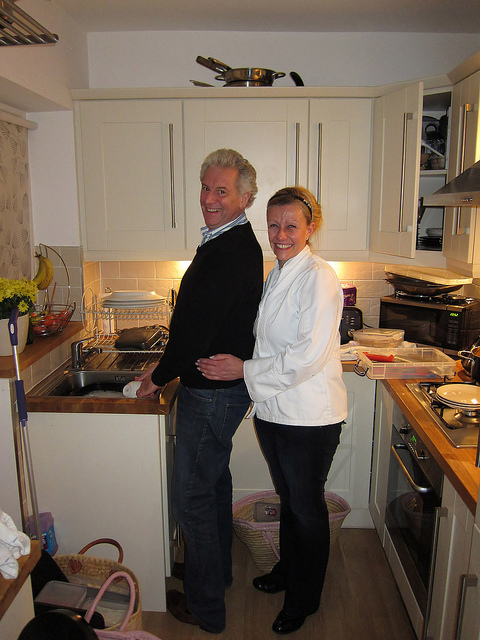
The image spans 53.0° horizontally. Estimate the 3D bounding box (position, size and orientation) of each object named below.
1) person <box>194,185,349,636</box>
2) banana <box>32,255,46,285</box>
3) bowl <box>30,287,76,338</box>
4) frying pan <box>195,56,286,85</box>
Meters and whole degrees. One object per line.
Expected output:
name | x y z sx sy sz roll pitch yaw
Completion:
person | 0.138 0.349 1.651 0.425 1.552 0.372 3 13 24
banana | -0.935 -0.221 2.267 0.055 0.151 0.040 3 -8 -3
bowl | -0.837 -0.025 2.104 0.218 0.159 0.233 2 6 0
frying pan | -0.001 -1.142 2.231 0.296 0.048 0.178 7 14 7
